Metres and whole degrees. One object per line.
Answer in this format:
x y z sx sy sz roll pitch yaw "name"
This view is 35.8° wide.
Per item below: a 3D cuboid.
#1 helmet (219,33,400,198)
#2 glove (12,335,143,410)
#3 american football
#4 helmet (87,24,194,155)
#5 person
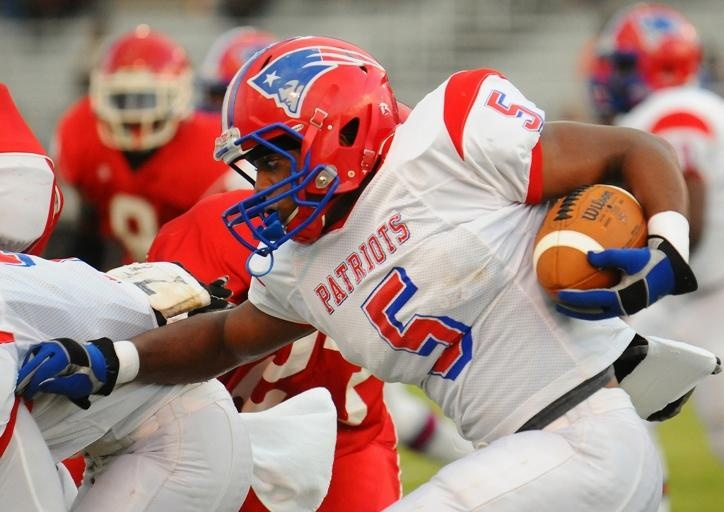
-0.168 -0.440 3.697 0.579 0.436 0.418 -8 -6 -12 "helmet"
-0.868 0.340 3.450 0.304 0.187 0.126 -32 11 -31 "glove"
0.679 -0.051 3.374 0.257 0.226 0.376 -9 16 -1 "american football"
-1.003 -0.722 5.155 0.486 0.548 0.651 -2 22 6 "helmet"
-0.543 -0.036 4.301 0.539 1.925 1.314 -27 7 -20 "person"
